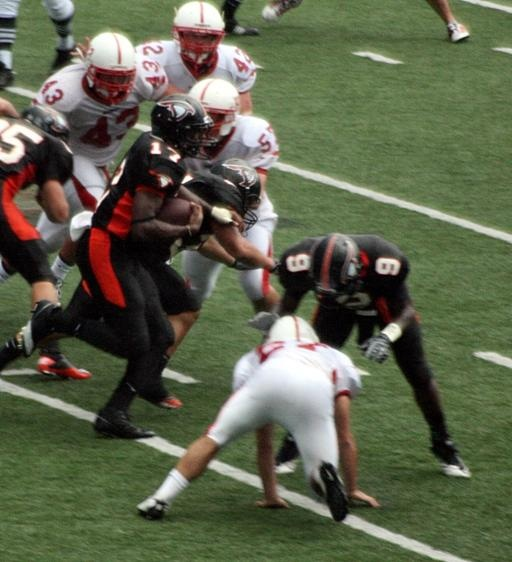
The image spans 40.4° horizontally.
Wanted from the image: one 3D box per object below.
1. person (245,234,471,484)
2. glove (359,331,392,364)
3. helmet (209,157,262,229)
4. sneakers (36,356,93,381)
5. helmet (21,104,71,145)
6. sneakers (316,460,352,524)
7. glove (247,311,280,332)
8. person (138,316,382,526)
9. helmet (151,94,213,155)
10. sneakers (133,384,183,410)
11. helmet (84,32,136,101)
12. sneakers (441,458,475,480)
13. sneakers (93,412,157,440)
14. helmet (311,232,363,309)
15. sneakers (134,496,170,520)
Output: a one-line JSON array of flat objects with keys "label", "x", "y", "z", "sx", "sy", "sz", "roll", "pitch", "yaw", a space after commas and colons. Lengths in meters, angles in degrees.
[{"label": "person", "x": 0.368, "y": 0.290, "z": 2.942, "sx": 1.066, "sy": 0.856, "sz": 0.804, "roll": 11, "pitch": 1, "yaw": -33}, {"label": "glove", "x": 0.463, "y": 0.267, "z": 2.761, "sx": 0.106, "sy": 0.135, "sz": 0.053, "roll": 39, "pitch": 29, "yaw": -24}, {"label": "helmet", "x": -0.102, "y": -0.398, "z": 2.997, "sx": 0.227, "sy": 0.202, "sz": 0.220, "roll": 11, "pitch": 33, "yaw": 10}, {"label": "sneakers", "x": -0.927, "y": 0.413, "z": 3.308, "sx": 0.324, "sy": 0.094, "sz": 0.097, "roll": 9, "pitch": 1, "yaw": -16}, {"label": "helmet", "x": -0.950, "y": -0.731, "z": 3.280, "sx": 0.234, "sy": 0.161, "sz": 0.177, "roll": 5, "pitch": 21, "yaw": -41}, {"label": "sneakers", "x": 0.237, "y": 0.644, "z": 2.128, "sx": 0.077, "sy": 0.095, "sz": 0.167, "roll": -26, "pitch": 80, "yaw": -20}, {"label": "glove", "x": 0.031, "y": 0.158, "z": 2.693, "sx": 0.120, "sy": 0.032, "sz": 0.078, "roll": -12, "pitch": 7, "yaw": 20}, {"label": "person", "x": 0.044, "y": 0.426, "z": 2.368, "sx": 0.689, "sy": 0.439, "sz": 0.804, "roll": 2, "pitch": 9, "yaw": 13}, {"label": "helmet", "x": -0.275, "y": -0.668, "z": 2.913, "sx": 0.321, "sy": 0.194, "sz": 0.201, "roll": 17, "pitch": 34, "yaw": 12}, {"label": "sneakers", "x": -0.426, "y": 0.530, "z": 3.149, "sx": 0.277, "sy": 0.111, "sz": 0.076, "roll": 18, "pitch": 46, "yaw": -38}, {"label": "helmet", "x": -0.764, "y": -1.117, "z": 3.695, "sx": 0.276, "sy": 0.365, "sz": 0.220, "roll": -8, "pitch": 37, "yaw": -17}, {"label": "sneakers", "x": 0.853, "y": 0.803, "z": 2.965, "sx": 0.145, "sy": 0.065, "sz": 0.061, "roll": 2, "pitch": -6, "yaw": 6}, {"label": "sneakers", "x": -0.549, "y": 0.586, "z": 2.795, "sx": 0.311, "sy": 0.096, "sz": 0.084, "roll": 4, "pitch": 1, "yaw": -13}, {"label": "helmet", "x": 0.282, "y": -0.029, "z": 2.772, "sx": 0.298, "sy": 0.246, "sz": 0.300, "roll": 2, "pitch": 21, "yaw": 3}, {"label": "sneakers", "x": -0.326, "y": 0.722, "z": 2.206, "sx": 0.100, "sy": 0.125, "sz": 0.051, "roll": 0, "pitch": 37, "yaw": -6}]
